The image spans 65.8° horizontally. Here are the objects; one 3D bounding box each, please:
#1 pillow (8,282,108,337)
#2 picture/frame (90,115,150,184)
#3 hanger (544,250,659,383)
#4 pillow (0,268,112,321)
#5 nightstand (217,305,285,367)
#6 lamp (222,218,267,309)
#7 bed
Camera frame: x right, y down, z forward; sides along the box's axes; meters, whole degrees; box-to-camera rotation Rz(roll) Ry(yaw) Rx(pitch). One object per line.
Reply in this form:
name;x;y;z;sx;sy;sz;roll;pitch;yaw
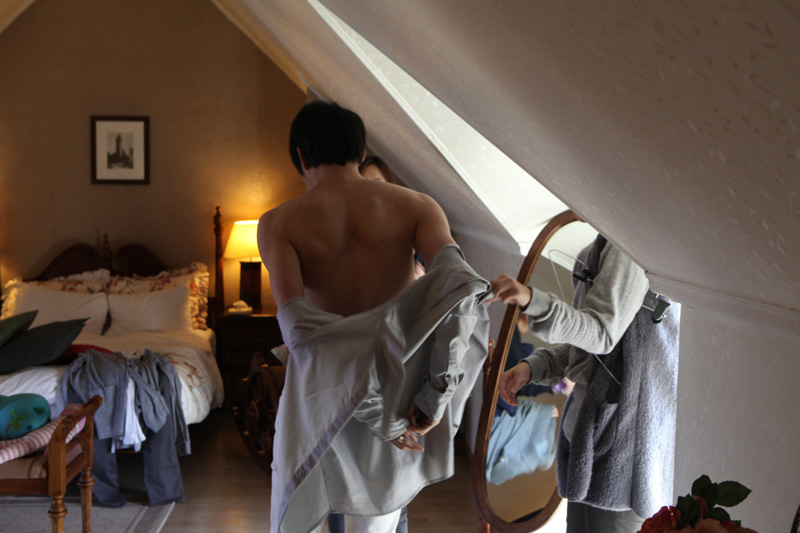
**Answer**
pillow;-2.336;0.268;4.286;0.462;0.153;0.481;14;24;-38
picture/frame;-2.196;-0.925;4.820;0.444;0.635;0.046;0;3;-8
hanger;0.572;0.148;1.729;0.205;0.316;0.308;23;3;-2
pillow;-2.360;0.222;4.341;0.476;0.504;0.154;-5;-39;-23
nightstand;-1.104;0.620;4.636;0.517;0.508;0.343;3;-12;-23
lamp;-1.154;-0.019;4.781;0.319;0.690;0.337;0;8;18
bed;-1.864;0.371;4.035;1.123;1.046;1.646;0;8;-4
